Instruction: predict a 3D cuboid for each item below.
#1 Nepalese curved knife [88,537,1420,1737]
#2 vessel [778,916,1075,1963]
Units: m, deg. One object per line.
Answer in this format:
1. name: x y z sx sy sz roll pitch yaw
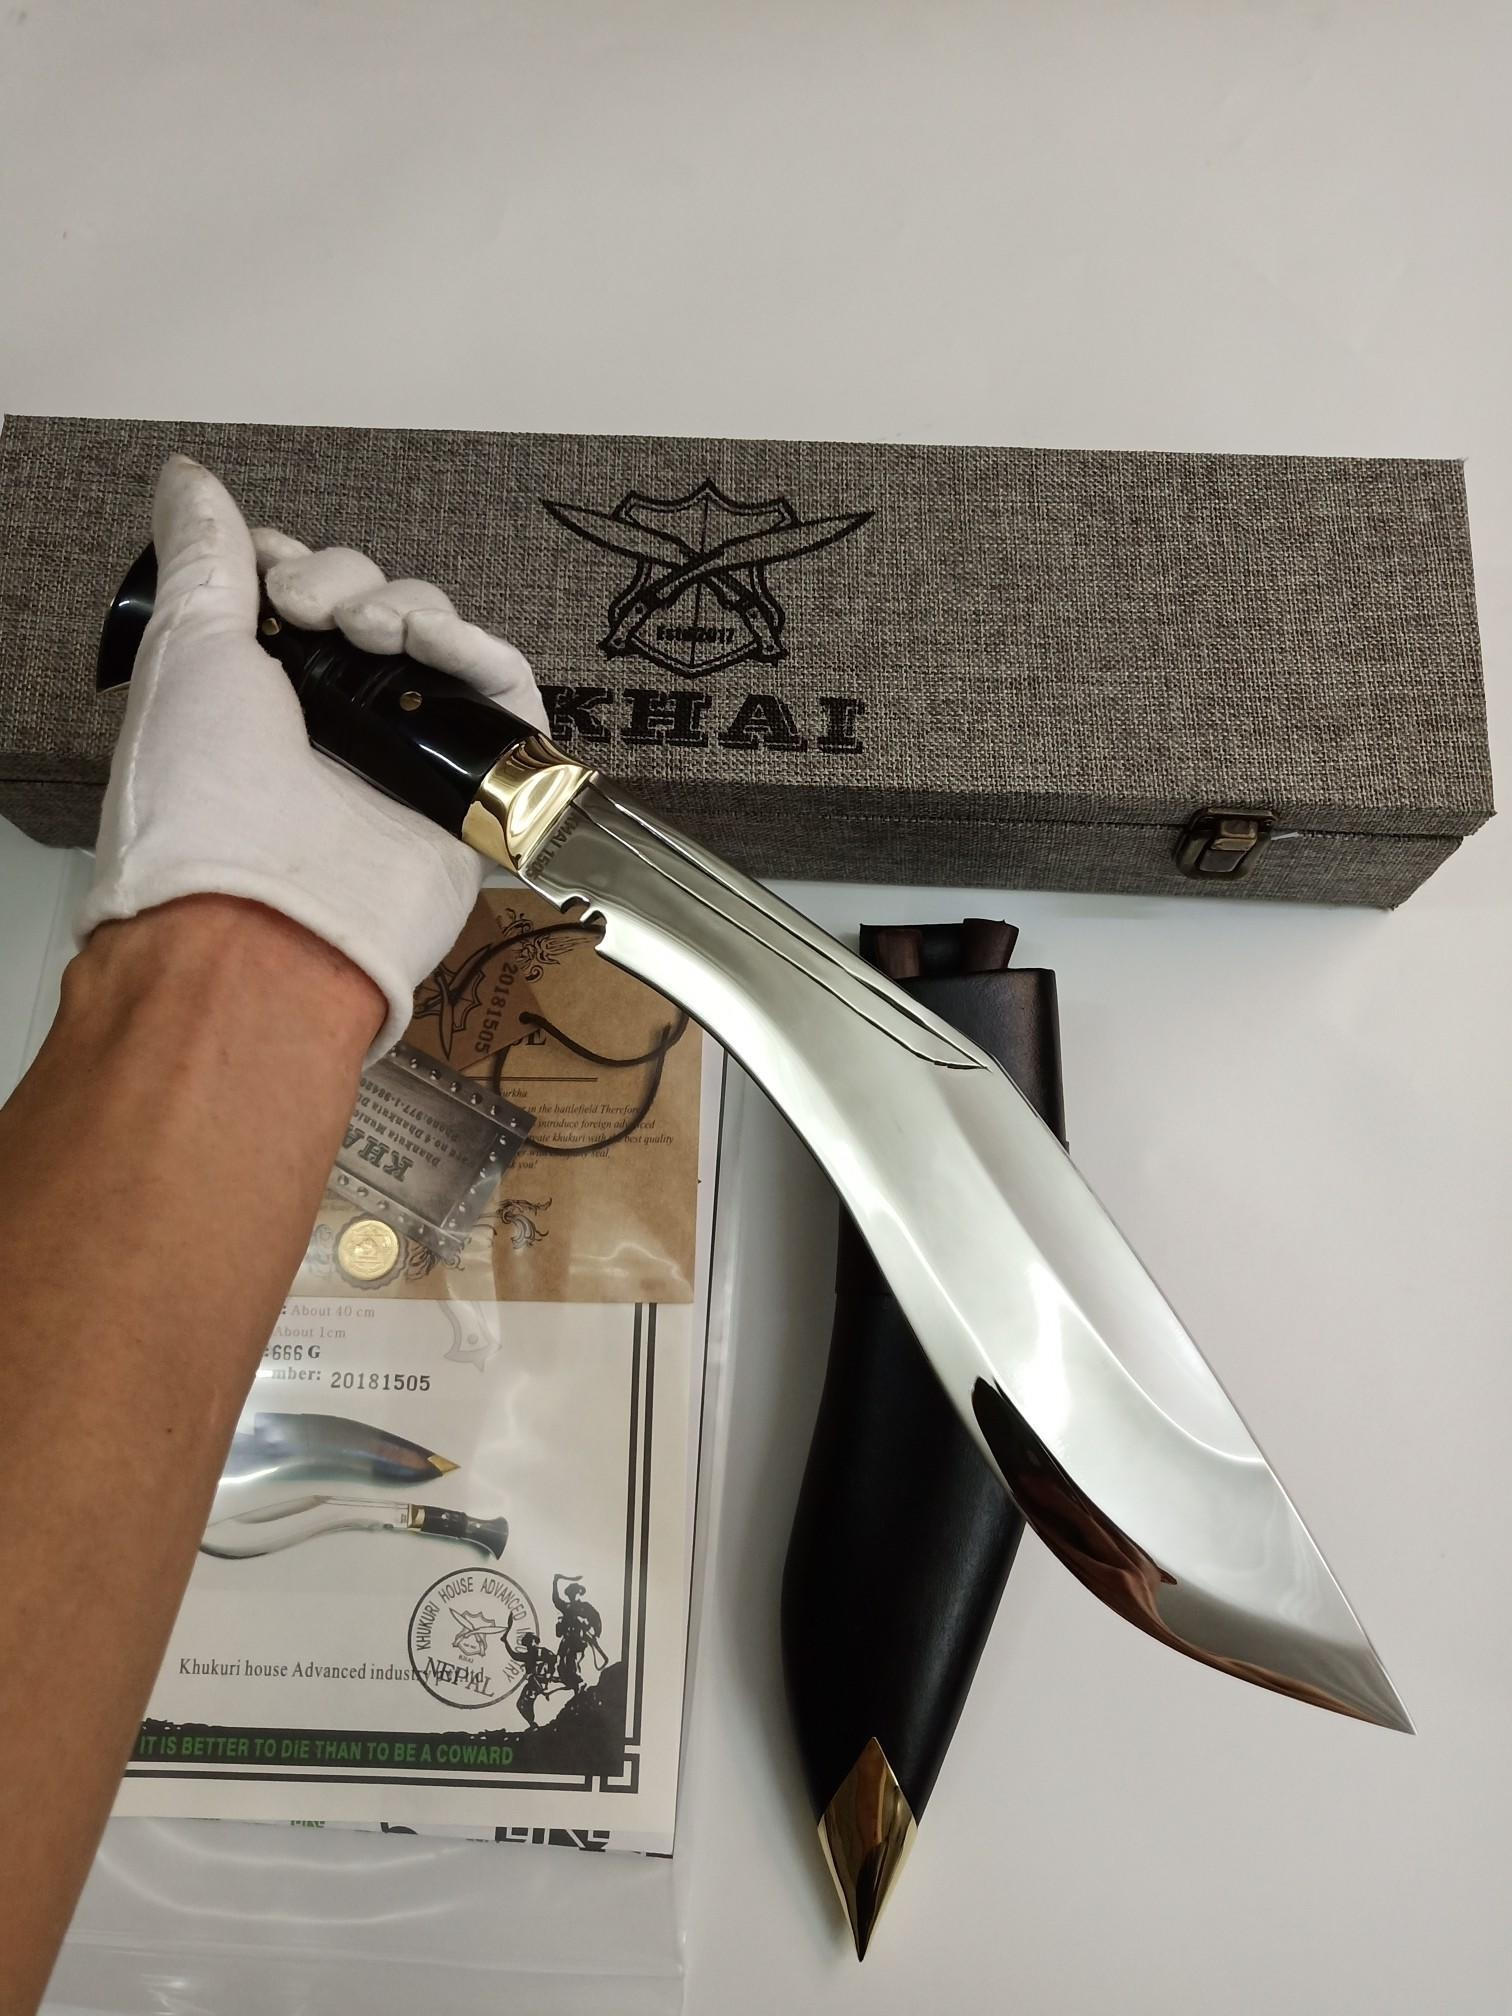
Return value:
1. Nepalese curved knife: -0.134 -0.055 0.965 0.993 0.080 0.189 41 64 17
2. vessel: 0.079 0.200 1.026 0.155 0.062 0.498 2 65 4
